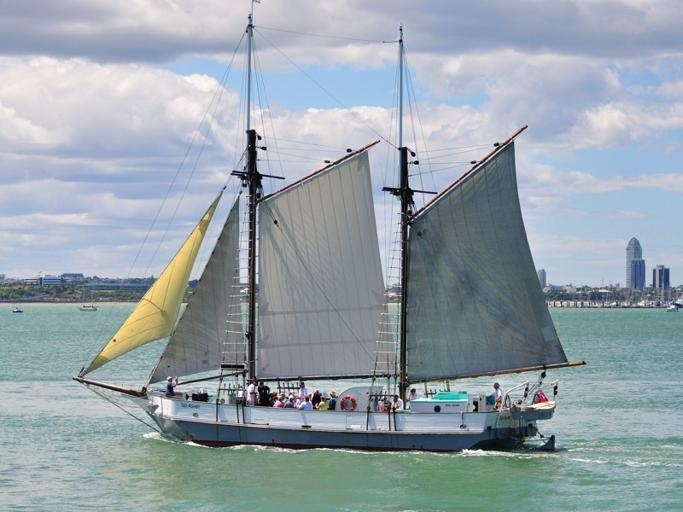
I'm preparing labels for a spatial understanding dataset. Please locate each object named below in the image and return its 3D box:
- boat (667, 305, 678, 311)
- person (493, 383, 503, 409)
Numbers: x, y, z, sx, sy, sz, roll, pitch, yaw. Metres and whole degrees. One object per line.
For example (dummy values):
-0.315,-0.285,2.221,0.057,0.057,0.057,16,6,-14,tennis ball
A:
121.129,19.305,413.818,3.481,1.714,4.852,2,3,15,boat
9.424,8.355,67.714,0.530,1.563,1.541,0,3,9,person
